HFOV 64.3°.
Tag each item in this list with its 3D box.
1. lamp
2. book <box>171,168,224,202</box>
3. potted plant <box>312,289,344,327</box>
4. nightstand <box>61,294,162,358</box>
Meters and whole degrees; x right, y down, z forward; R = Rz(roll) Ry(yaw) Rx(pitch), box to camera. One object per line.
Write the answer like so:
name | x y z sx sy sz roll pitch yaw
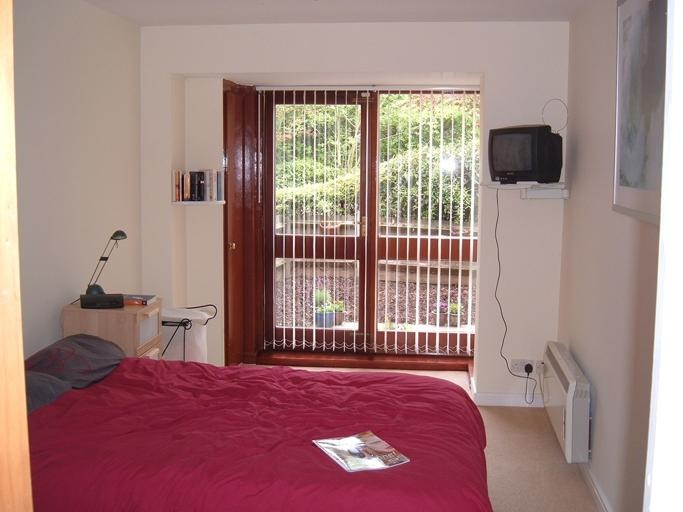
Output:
lamp | -1.609 0.097 3.739 0.286 0.560 0.310 15 3 -22
book | -1.197 -0.597 4.627 0.440 0.257 0.321 -1 3 -4
potted plant | -0.169 0.512 5.336 0.402 0.439 0.292 1 -4 -5
nightstand | -1.572 0.354 3.763 0.407 0.537 0.586 1 3 7
